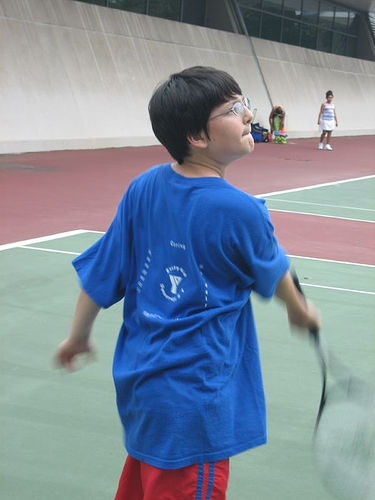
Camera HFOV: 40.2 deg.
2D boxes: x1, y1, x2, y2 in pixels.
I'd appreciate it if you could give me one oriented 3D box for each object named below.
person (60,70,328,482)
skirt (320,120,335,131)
[{"bbox_3d":[-0.022,0.034,1.185,0.335,0.857,0.516,-6,15,-33],"label":"person"},{"bbox_3d":[5.884,-5.257,21.438,0.682,0.635,0.435,5,11,18],"label":"skirt"}]
